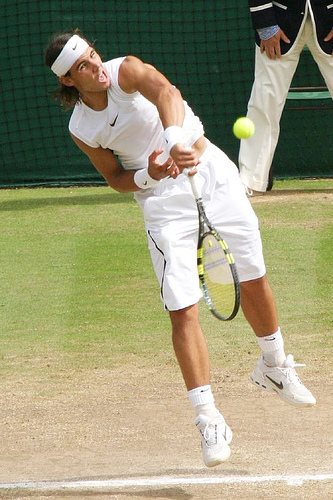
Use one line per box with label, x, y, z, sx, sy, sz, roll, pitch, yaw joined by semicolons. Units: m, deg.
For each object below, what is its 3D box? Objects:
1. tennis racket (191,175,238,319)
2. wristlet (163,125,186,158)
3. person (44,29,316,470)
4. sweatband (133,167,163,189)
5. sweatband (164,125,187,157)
tennis racket;0.158;0.014;2.268;0.119;0.512;0.380;-13;22;2
wristlet;0.040;-0.389;2.307;0.061;0.117;0.077;17;-43;-37
person;0.195;-0.007;2.644;0.812;1.830;1.360;-17;23;-9
sweatband;-0.069;-0.276;2.448;0.074;0.068;0.089;-11;11;-11
sweatband;0.024;-0.384;2.313;0.081;0.053;0.115;-26;50;5
